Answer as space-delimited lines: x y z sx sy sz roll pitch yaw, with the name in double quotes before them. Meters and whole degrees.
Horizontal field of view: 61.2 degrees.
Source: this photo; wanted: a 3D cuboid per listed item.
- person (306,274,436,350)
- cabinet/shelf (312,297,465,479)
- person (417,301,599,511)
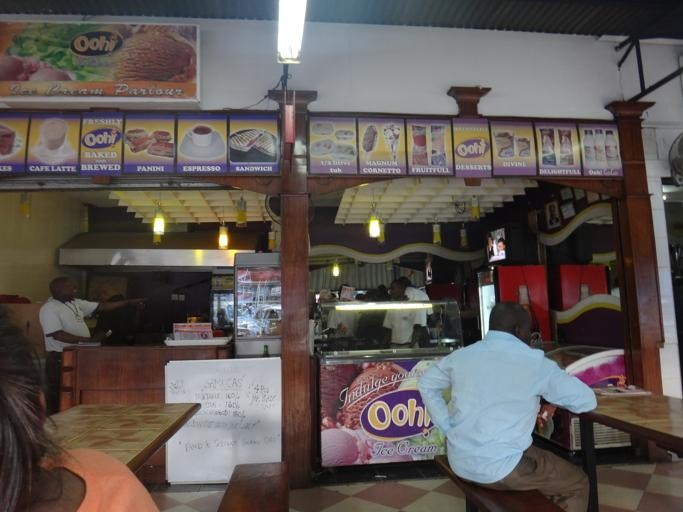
"person" 0.385 0.863 6.663 1.326 0.610 0.712 -1 1 -2
"cabinet/shelf" 0.437 1.396 5.830 1.802 1.649 0.622 0 -6 -7
"person" 1.378 1.339 4.899 1.171 1.923 1.341 -26 28 -36
